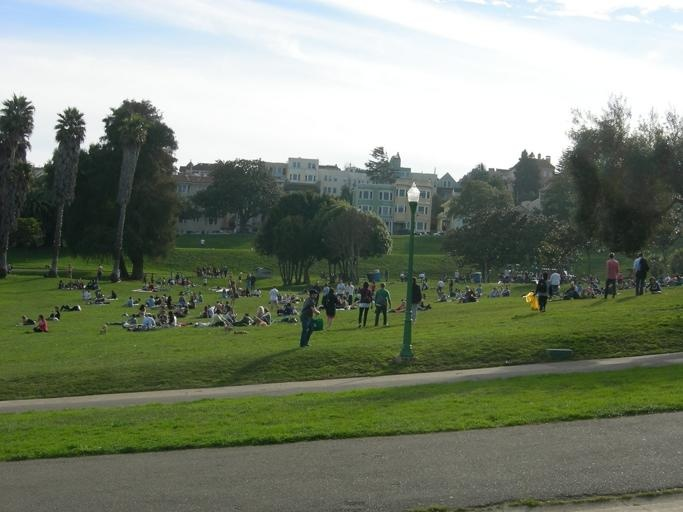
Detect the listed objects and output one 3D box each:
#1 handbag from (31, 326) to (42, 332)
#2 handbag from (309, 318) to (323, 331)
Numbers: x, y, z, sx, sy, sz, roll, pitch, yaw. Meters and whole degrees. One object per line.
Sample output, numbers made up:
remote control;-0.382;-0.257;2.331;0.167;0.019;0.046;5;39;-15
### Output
handbag;-14.649;3.497;47.185;0.306;0.288;0.857;3;-3;-36
handbag;-0.983;2.709;38.980;0.485;0.578;0.349;-4;7;-13
